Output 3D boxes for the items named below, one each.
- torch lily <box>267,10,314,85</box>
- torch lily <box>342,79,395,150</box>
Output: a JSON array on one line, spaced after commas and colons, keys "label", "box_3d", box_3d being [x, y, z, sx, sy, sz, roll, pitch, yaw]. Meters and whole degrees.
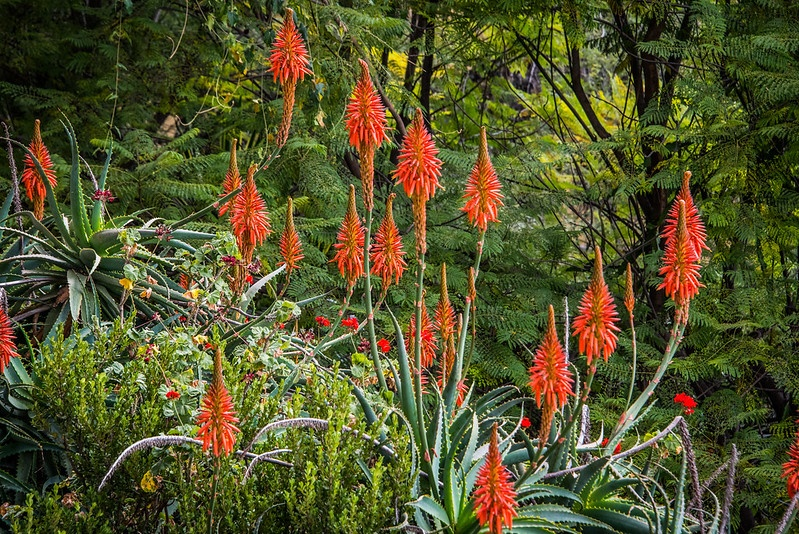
[{"label": "torch lily", "box_3d": [-0.707, -1.419, 5.876, 0.263, 0.396, 0.510, 7, 3, -9]}, {"label": "torch lily", "box_3d": [-0.197, -0.918, 5.378, 0.277, 0.553, 0.331, -6, 25, -3]}]
